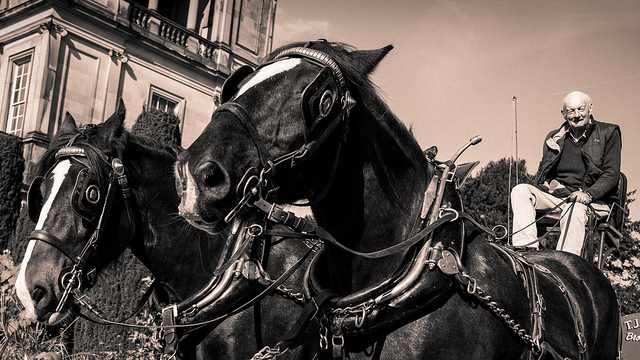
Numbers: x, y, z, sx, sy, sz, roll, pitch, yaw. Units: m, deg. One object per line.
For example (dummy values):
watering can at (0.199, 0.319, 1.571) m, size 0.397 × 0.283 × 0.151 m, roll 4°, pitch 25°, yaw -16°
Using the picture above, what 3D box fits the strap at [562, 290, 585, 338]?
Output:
strap at (3.407, 1.837, 10.475) m, size 0.097 × 0.551 × 0.322 m, roll -26°, pitch -5°, yaw 24°

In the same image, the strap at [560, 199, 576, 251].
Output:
strap at (3.721, 0.696, 11.729) m, size 0.247 × 0.747 × 0.089 m, roll -10°, pitch -18°, yaw 42°

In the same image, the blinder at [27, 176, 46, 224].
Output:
blinder at (-4.346, 0.325, 11.812) m, size 0.196 × 0.729 × 0.314 m, roll 10°, pitch -15°, yaw -29°
